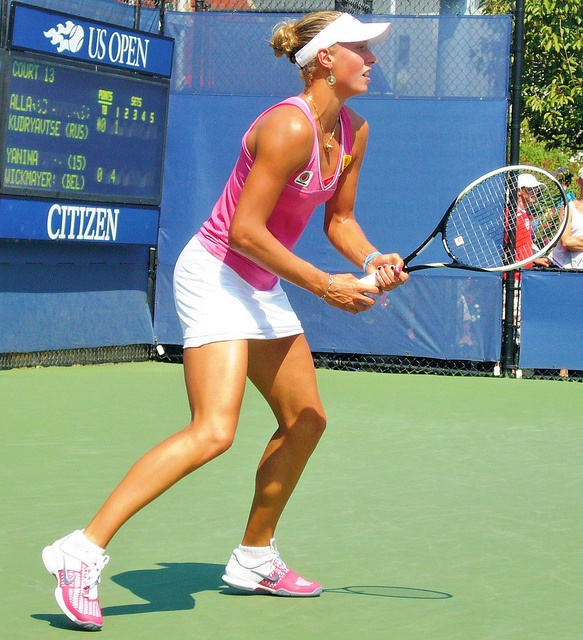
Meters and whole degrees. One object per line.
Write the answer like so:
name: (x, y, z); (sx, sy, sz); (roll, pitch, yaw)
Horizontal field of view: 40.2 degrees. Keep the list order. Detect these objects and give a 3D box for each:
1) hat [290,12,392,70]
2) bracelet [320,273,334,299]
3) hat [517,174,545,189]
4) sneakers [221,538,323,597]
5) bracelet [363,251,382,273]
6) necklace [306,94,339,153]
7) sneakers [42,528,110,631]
hat: (0.141, -0.779, 2.180); (0.224, 0.080, 0.138); (-29, 1, 15)
bracelet: (0.098, -0.091, 2.100); (0.013, 0.053, 0.054); (24, 18, 21)
hat: (1.880, -1.098, 6.292); (0.262, 0.094, 0.176); (-3, 6, -12)
sneakers: (-0.066, 0.756, 2.495); (0.368, 0.205, 0.134); (7, -6, -1)
bracelet: (0.258, -0.190, 2.517); (0.049, 0.025, 0.067); (-8, 27, 32)
necklace: (0.085, -0.532, 2.169); (0.035, 0.150, 0.094); (-3, 6, 15)
sneakers: (-0.518, 0.628, 1.986); (0.249, 0.158, 0.093); (55, 20, 25)
